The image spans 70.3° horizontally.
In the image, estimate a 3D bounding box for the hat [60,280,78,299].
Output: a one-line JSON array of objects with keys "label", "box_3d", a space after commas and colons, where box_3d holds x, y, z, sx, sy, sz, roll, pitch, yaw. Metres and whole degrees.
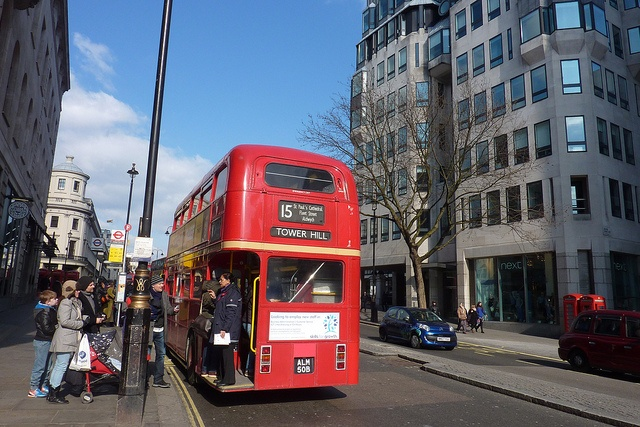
[{"label": "hat", "box_3d": [-6.415, 1.922, 11.616, 0.310, 0.450, 0.158, 4, -6, -10]}]

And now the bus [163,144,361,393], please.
[{"label": "bus", "box_3d": [-1.302, 1.736, 12.360, 2.284, 3.696, 6.710, 4, -8, -19]}]

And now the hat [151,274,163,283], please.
[{"label": "hat", "box_3d": [-4.682, 1.891, 13.059, 0.268, 0.262, 0.224, -10, 0, -8]}]

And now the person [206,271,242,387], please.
[{"label": "person", "box_3d": [-2.463, 3.011, 11.957, 0.729, 2.854, 0.381, 3, -12, -11]}]

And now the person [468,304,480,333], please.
[{"label": "person", "box_3d": [10.341, 7.107, 30.609, 0.685, 1.663, 1.197, -4, -14, 16]}]

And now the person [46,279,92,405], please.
[{"label": "person", "box_3d": [-6.431, 3.232, 11.560, 0.658, 3.008, 0.629, 8, -15, -34]}]

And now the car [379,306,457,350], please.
[{"label": "car", "box_3d": [4.739, 5.612, 22.604, 1.442, 1.981, 3.671, 10, -17, -36]}]

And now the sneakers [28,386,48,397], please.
[{"label": "sneakers", "box_3d": [-7.117, 4.517, 11.588, 0.545, 0.259, 0.226, -2, -8, 4]}]

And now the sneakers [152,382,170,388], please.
[{"label": "sneakers", "box_3d": [-4.504, 4.855, 12.906, 0.423, 0.198, 0.190, 4, -9, -7]}]

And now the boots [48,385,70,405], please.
[{"label": "boots", "box_3d": [-6.531, 4.517, 11.273, 0.620, 0.510, 0.272, 1, -6, -5]}]
